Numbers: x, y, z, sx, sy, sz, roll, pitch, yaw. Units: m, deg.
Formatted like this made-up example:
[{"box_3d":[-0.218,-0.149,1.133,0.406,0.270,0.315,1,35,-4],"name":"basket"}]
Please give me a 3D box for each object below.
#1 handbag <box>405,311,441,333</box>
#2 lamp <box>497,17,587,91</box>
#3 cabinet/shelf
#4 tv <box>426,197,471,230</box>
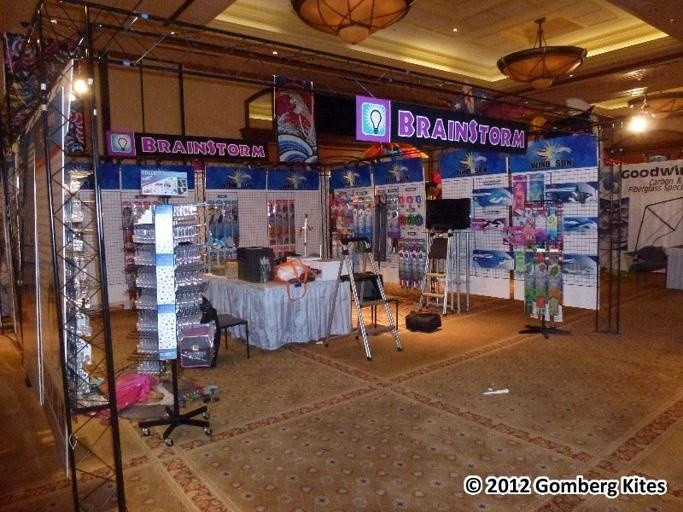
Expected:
[{"box_3d":[1.463,1.118,8.548,0.427,0.215,0.430,-3,-5,42],"name":"handbag"},{"box_3d":[3.630,-3.598,9.056,1.828,1.120,1.640,-2,11,23],"name":"lamp"},{"box_3d":[-1.919,0.707,5.292,0.717,2.473,0.832,-8,16,-16],"name":"cabinet/shelf"},{"box_3d":[2.109,-0.845,9.987,1.191,0.622,0.118,-4,7,-30],"name":"tv"}]
